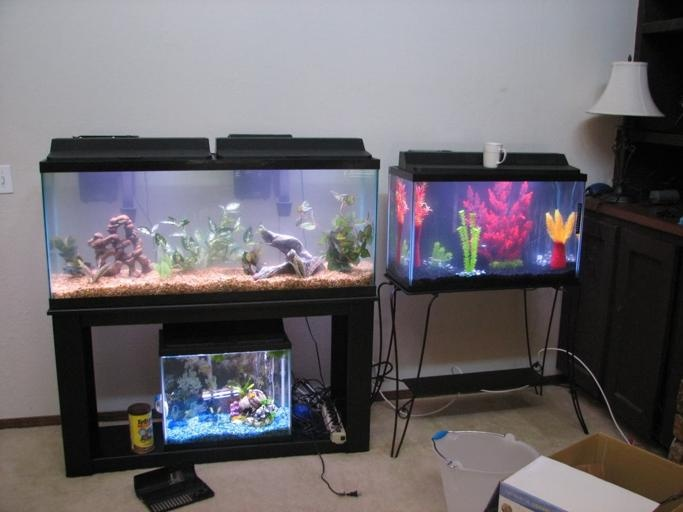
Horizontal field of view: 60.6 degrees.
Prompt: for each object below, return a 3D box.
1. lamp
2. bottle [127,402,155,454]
[{"bbox_3d":[1.632,-0.747,3.366,0.396,0.756,0.325,0,12,22],"label":"lamp"},{"bbox_3d":[-1.018,0.868,2.964,0.125,0.225,0.129,0,13,0],"label":"bottle"}]
